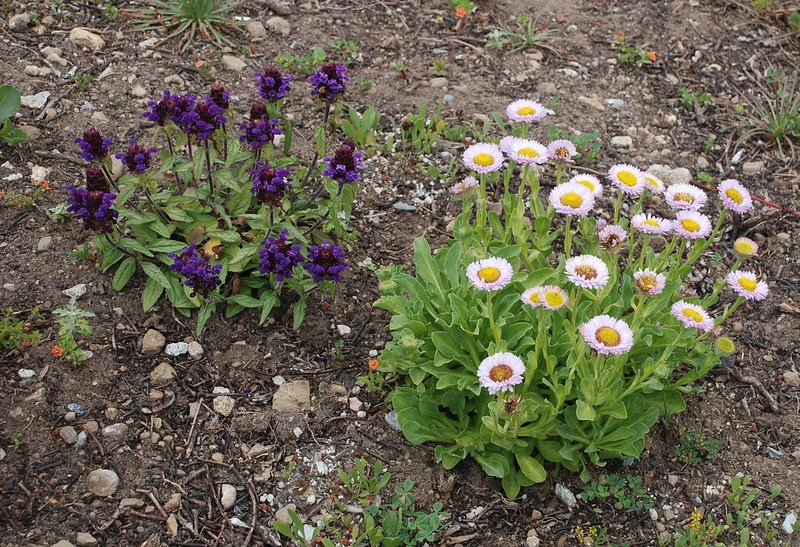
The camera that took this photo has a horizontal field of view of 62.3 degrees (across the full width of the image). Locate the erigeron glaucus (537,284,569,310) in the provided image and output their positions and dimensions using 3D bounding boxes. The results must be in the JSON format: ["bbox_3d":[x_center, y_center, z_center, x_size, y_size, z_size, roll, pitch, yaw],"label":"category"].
[{"bbox_3d":[0.957,0.136,4.065,0.158,0.057,0.156,-31,48,-33],"label":"erigeron glaucus"}]

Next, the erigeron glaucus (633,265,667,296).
[{"bbox_3d":[1.610,0.025,4.295,0.184,0.078,0.180,-26,42,-35],"label":"erigeron glaucus"}]

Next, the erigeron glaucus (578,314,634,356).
[{"bbox_3d":[1.258,0.383,4.026,0.254,0.103,0.258,9,52,5],"label":"erigeron glaucus"}]

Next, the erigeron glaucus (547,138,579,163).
[{"bbox_3d":[1.155,-0.862,4.687,0.178,0.085,0.185,1,45,2],"label":"erigeron glaucus"}]

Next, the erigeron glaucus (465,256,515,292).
[{"bbox_3d":[0.575,0.002,4.146,0.223,0.088,0.230,2,48,9],"label":"erigeron glaucus"}]

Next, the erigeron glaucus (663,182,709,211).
[{"bbox_3d":[1.963,-0.494,4.540,0.226,0.098,0.233,-4,41,-5],"label":"erigeron glaucus"}]

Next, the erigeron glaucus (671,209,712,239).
[{"bbox_3d":[1.977,-0.347,4.532,0.208,0.083,0.217,-7,65,4],"label":"erigeron glaucus"}]

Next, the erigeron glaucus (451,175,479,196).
[{"bbox_3d":[0.527,-0.706,5.330,0.216,0.220,0.100,-30,90,6],"label":"erigeron glaucus"}]
